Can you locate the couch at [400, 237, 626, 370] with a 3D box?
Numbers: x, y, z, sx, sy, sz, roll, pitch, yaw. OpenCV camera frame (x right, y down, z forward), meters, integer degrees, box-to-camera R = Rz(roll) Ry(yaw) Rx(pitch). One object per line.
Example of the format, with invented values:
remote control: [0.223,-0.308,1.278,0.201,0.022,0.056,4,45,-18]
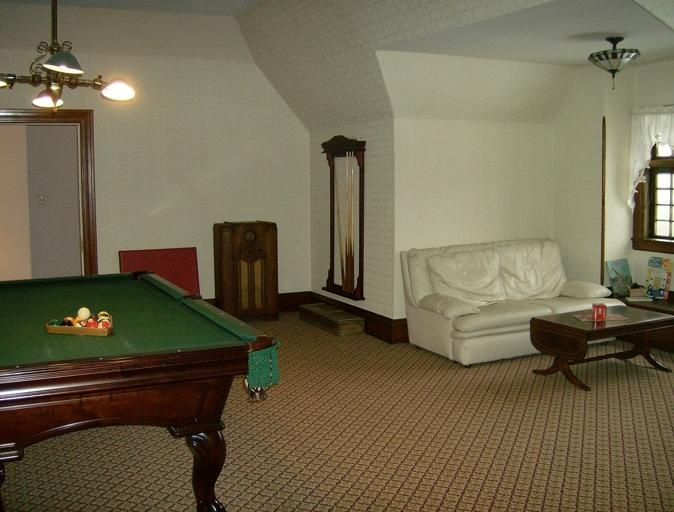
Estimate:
couch: [2.062,0.457,6.079,2.307,1.013,1.271,-5,11,-23]

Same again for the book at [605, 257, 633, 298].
book: [3.462,0.278,6.505,0.513,0.549,0.044,-5,-10,-26]

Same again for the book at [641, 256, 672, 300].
book: [3.723,0.262,6.132,0.241,0.440,0.369,5,10,29]

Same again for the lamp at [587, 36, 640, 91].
lamp: [2.650,-1.928,5.086,0.495,0.395,0.468,-1,-6,4]
